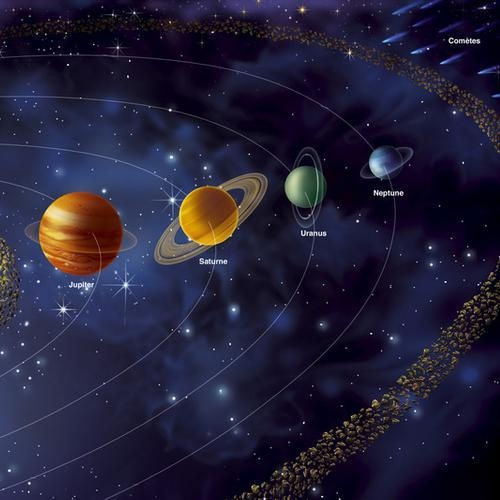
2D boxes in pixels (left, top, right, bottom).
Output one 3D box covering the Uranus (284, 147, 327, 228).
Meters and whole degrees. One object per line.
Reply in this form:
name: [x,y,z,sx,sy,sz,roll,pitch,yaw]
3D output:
Uranus: [0.367,-0.605,5.287,0.320,0.588,0.576,4,48,-8]
